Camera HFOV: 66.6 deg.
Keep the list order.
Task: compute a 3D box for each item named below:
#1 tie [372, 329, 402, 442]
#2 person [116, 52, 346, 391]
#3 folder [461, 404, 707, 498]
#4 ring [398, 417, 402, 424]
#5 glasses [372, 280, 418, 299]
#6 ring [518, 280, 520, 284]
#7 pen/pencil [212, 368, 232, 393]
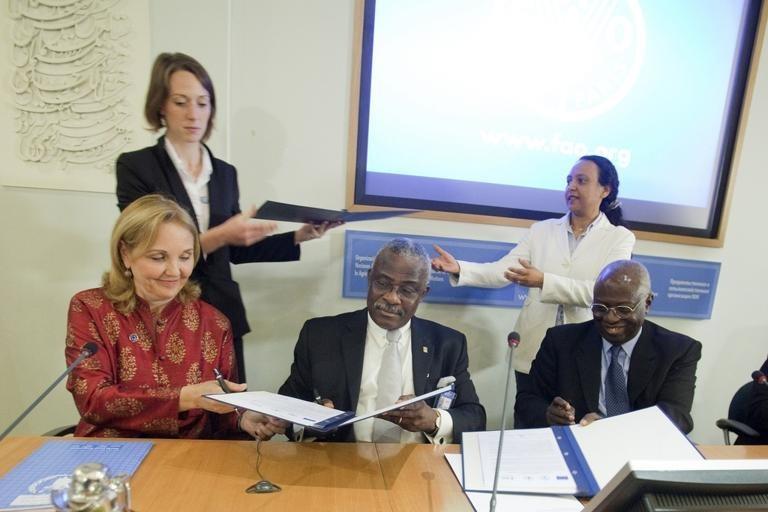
[{"bbox_3d":[0.030,0.660,3.032,0.114,0.555,0.144,3,-24,11],"label":"tie"},{"bbox_3d":[-0.860,0.214,3.399,1.121,2.570,0.820,-3,11,-17],"label":"person"},{"bbox_3d":[0.821,0.860,2.538,0.731,0.131,0.439,2,24,0],"label":"folder"},{"bbox_3d":[0.077,0.771,2.744,0.022,0.026,0.025,0,-4,-27],"label":"ring"},{"bbox_3d":[0.061,0.173,3.043,0.113,0.048,0.134,14,-14,7],"label":"glasses"},{"bbox_3d":[0.830,0.162,3.601,0.017,0.016,0.006,-17,13,-5],"label":"ring"},{"bbox_3d":[-0.750,0.574,2.697,0.021,0.095,0.024,-18,9,6],"label":"pen/pencil"}]
